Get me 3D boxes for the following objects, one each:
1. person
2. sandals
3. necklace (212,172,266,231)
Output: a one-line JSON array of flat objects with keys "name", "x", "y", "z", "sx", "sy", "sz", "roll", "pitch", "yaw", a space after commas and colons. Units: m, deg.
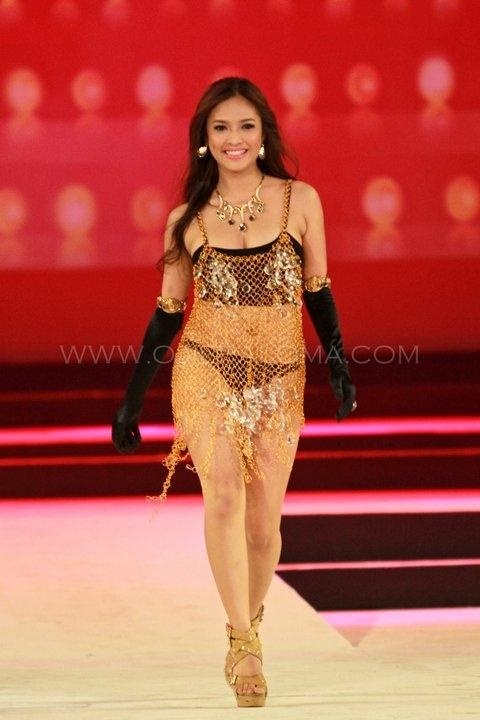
[{"name": "person", "x": 0.031, "y": 0.022, "z": 2.067, "sx": 0.531, "sy": 1.597, "sz": 0.585, "roll": -3, "pitch": 4, "yaw": -40}, {"name": "sandals", "x": 0.015, "y": 0.742, "z": 1.847, "sx": 0.074, "sy": 0.101, "sz": 0.188, "roll": -1, "pitch": -2, "yaw": -1}, {"name": "necklace", "x": 0.002, "y": -0.427, "z": 2.043, "sx": 0.193, "sy": 0.281, "sz": 0.021, "roll": -8, "pitch": -44, "yaw": 14}]
